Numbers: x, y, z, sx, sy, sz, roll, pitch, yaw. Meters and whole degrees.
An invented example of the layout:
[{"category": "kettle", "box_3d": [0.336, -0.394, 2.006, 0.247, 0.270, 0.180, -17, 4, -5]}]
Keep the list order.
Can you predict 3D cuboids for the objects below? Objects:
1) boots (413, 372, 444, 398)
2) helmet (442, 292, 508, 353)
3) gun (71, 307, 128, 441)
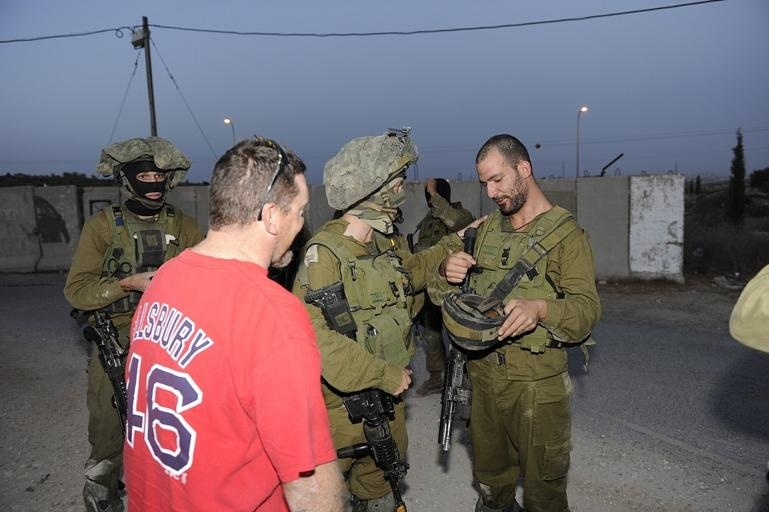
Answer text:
[{"category": "boots", "box_3d": [0.589, 1.729, 7.595, 0.440, 0.453, 0.211, 2, 7, -3]}, {"category": "helmet", "box_3d": [0.782, 0.517, 4.924, 0.403, 0.405, 0.524, 17, 14, 13]}, {"category": "gun", "box_3d": [-2.857, 1.228, 5.664, 0.487, 1.605, 0.228, -16, -5, 28]}]
